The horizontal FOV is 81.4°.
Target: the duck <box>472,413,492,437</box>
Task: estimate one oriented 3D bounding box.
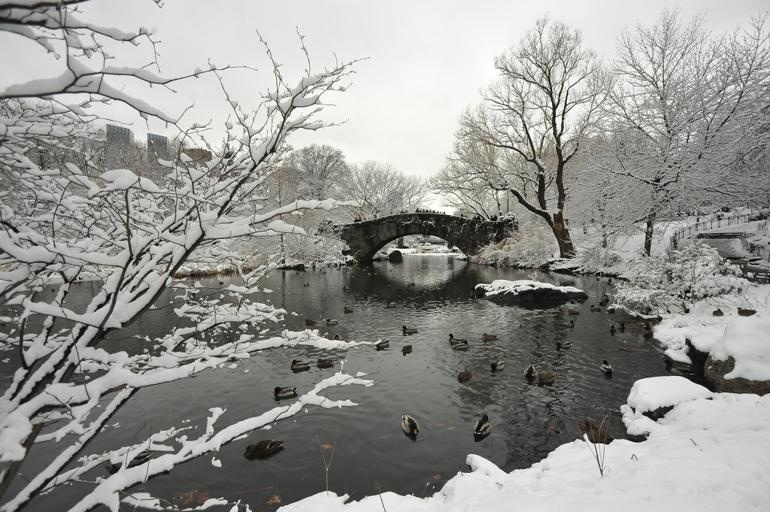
[{"bbox_3d":[2.511,4.326,11.501,0.572,0.408,0.313,-8,14,-22],"label":"duck"}]

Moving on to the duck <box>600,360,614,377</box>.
[{"bbox_3d":[7.106,3.545,14.184,0.324,0.430,0.452,4,-3,5],"label":"duck"}]

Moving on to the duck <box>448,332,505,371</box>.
[{"bbox_3d":[3.068,3.405,16.552,1.250,0.836,0.699,0,8,5],"label":"duck"}]
